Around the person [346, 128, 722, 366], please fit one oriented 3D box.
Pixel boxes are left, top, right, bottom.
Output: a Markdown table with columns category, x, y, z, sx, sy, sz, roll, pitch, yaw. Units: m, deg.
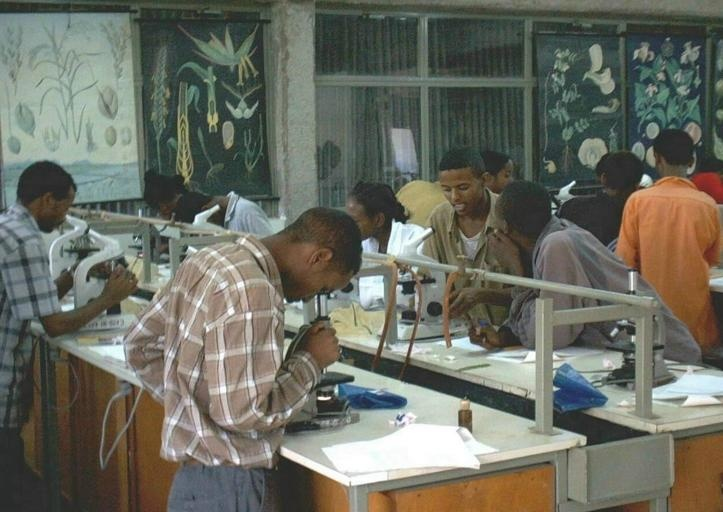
| category | x | y | z | sx | sy | sz | roll | pitch | yaw |
| --- | --- | --- | --- | --- | --- | --- | --- | --- | --- |
| person | 1.003 | 0.007 | 5.206 | 1.325 | 0.966 | 1.383 | 14 | 15 | 43 |

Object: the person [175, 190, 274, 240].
| category | x | y | z | sx | sy | sz | roll | pitch | yaw |
| --- | --- | --- | --- | --- | --- | --- | --- | --- | --- |
| person | -1.094 | -0.339 | 7.770 | 0.622 | 0.569 | 0.831 | -7 | 14 | -39 |

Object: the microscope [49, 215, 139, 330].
| category | x | y | z | sx | sy | sz | roll | pitch | yaw |
| --- | --- | --- | --- | --- | --- | --- | --- | --- | --- |
| microscope | -1.549 | 0.222 | 5.653 | 0.394 | 0.397 | 0.651 | -2 | 1 | -27 |

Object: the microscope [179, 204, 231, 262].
| category | x | y | z | sx | sy | sz | roll | pitch | yaw |
| --- | --- | --- | --- | --- | --- | --- | --- | --- | --- |
| microscope | -1.128 | -0.204 | 6.943 | 0.227 | 0.086 | 0.359 | -8 | 43 | -7 |

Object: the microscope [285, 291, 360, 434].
| category | x | y | z | sx | sy | sz | roll | pitch | yaw |
| --- | --- | --- | --- | --- | --- | --- | --- | --- | --- |
| microscope | -0.209 | 0.483 | 4.423 | 0.276 | 0.582 | 0.273 | 0 | 13 | -27 |
